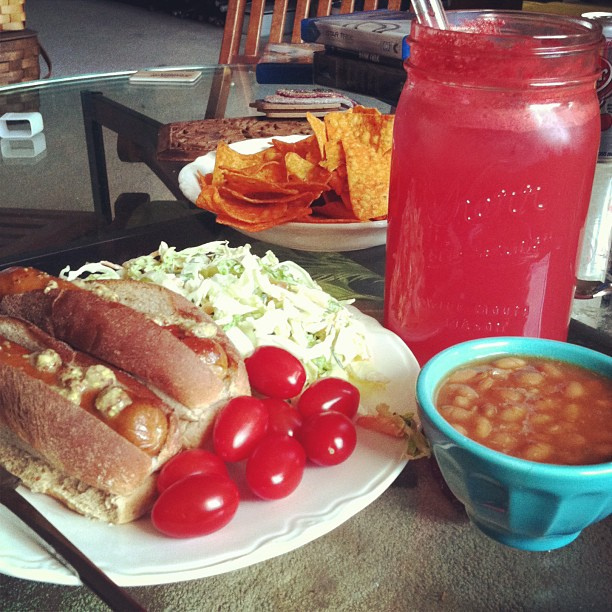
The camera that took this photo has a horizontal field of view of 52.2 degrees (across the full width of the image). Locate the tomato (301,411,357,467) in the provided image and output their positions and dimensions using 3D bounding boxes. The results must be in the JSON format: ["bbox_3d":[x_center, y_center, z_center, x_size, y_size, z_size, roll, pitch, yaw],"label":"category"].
[{"bbox_3d":[0.016,0.116,0.544,0.056,0.046,0.050,3,7,8],"label":"tomato"}]

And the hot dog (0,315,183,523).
[{"bbox_3d":[-0.175,0.090,0.492,0.182,0.059,0.110,34,45,7],"label":"hot dog"}]

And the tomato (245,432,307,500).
[{"bbox_3d":[-0.024,0.129,0.511,0.045,0.028,0.059,1,31,-3],"label":"tomato"}]

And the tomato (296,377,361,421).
[{"bbox_3d":[0.025,0.087,0.599,0.059,0.033,0.035,4,43,9],"label":"tomato"}]

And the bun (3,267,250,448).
[{"bbox_3d":[-0.215,0.037,0.594,0.280,0.118,0.079,21,81,10],"label":"bun"}]
